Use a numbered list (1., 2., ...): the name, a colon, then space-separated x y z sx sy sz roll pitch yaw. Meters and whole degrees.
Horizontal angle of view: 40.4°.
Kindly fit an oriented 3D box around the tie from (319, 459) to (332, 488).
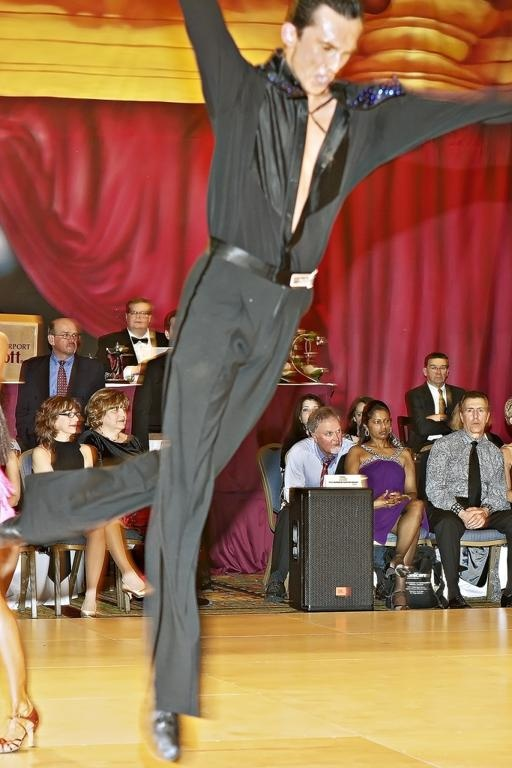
1. tie: 0.479 0.607 4.787 0.060 0.214 0.056 16 -13 -6

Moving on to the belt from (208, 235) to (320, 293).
1. belt: 0.003 -0.247 1.459 0.136 0.035 0.121 22 3 11

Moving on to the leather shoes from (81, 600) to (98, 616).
1. leather shoes: -0.963 1.288 4.008 0.053 0.057 0.146 1 6 -6

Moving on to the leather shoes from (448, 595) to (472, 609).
1. leather shoes: 1.296 1.399 4.466 0.071 0.048 0.126 1 -9 -5

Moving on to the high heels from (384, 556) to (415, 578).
1. high heels: 0.930 1.213 4.527 0.160 0.098 0.055 3 2 20

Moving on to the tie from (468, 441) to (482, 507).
1. tie: 1.584 0.653 5.010 0.087 0.431 0.047 1 -6 -8

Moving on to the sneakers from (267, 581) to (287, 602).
1. sneakers: 0.139 1.400 4.687 0.104 0.133 0.144 6 2 -18

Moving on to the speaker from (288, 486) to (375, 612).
1. speaker: 0.478 1.031 4.342 0.524 0.706 0.526 5 -9 -37
